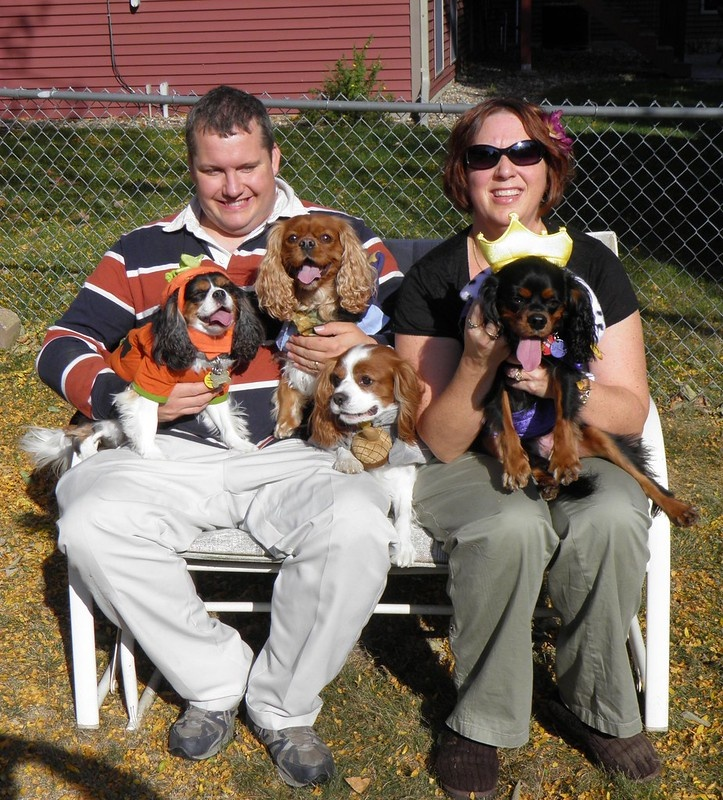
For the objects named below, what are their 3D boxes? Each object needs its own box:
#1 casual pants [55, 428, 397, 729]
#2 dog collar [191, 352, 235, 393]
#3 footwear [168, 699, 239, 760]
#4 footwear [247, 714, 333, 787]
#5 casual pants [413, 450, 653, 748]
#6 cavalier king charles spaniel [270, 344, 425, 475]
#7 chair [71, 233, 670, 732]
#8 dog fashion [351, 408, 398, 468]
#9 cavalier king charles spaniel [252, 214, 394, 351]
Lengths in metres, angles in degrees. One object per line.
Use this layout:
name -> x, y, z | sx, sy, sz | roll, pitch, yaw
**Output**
casual pants -> -0.451, 0.608, 3.132 | 1.094, 0.724, 0.645 | 9, 26, 12
dog collar -> -0.543, -0.098, 3.379 | 0.135, 0.066, 0.134 | 25, 63, -3
footwear -> -0.530, 1.106, 3.051 | 0.129, 0.109, 0.259 | -1, 2, 7
footwear -> -0.240, 1.132, 2.983 | 0.137, 0.102, 0.286 | -8, 16, -41
casual pants -> 0.554, 0.609, 2.838 | 0.579, 0.377, 0.970 | -1, 65, 4
cavalier king charles spaniel -> 0.012, 0.008, 3.384 | 0.559, 0.518, 0.445 | 4, 16, 9
chair -> 0.154, 0.382, 3.637 | 2.040, 1.420, 1.234 | -1, -5, 6
dog fashion -> 0.044, 0.138, 3.227 | 0.113, 0.192, 0.086 | 38, 65, 23
cavalier king charles spaniel -> -0.176, -0.502, 3.707 | 0.520, 0.494, 0.357 | -3, 5, -2
